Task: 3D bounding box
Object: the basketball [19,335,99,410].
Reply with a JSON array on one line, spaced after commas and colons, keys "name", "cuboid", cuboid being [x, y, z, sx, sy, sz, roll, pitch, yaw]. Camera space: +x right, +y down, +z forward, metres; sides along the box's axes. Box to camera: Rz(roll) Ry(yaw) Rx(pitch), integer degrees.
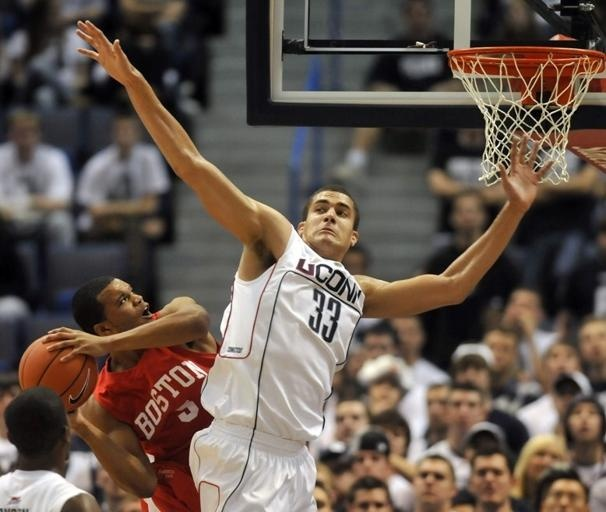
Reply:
[{"name": "basketball", "cuboid": [-1.243, 0.594, 5.493, 0.393, 0.381, 0.253, 4, -11, -14]}]
